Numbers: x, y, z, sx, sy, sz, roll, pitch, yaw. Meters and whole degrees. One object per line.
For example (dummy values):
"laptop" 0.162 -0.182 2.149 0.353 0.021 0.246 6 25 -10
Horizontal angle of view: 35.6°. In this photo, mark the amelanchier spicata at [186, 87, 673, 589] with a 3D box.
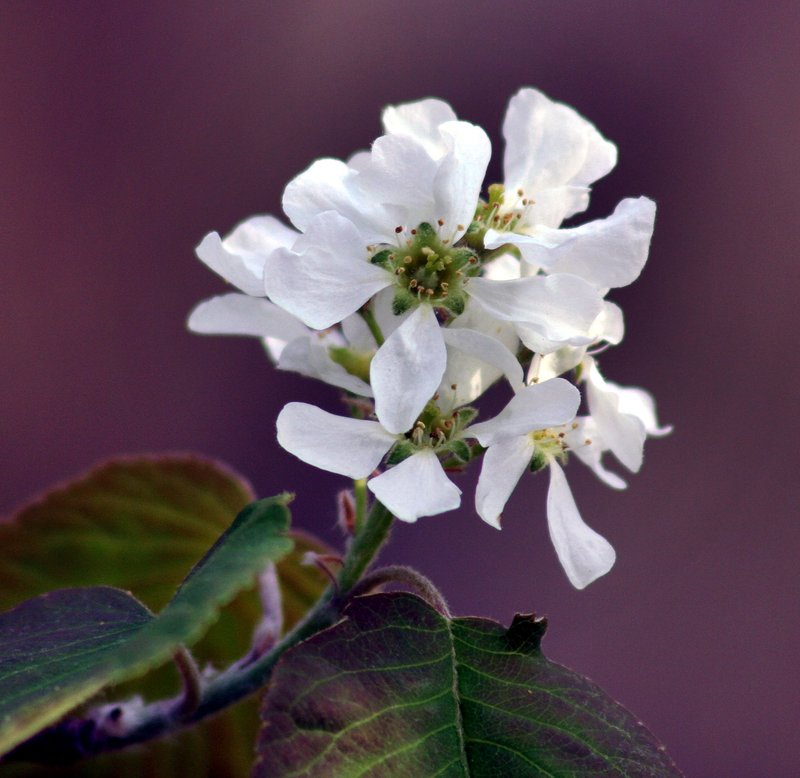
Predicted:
"amelanchier spicata" 0.073 -0.086 1.398 0.564 0.389 0.494 -8 -77 -2
